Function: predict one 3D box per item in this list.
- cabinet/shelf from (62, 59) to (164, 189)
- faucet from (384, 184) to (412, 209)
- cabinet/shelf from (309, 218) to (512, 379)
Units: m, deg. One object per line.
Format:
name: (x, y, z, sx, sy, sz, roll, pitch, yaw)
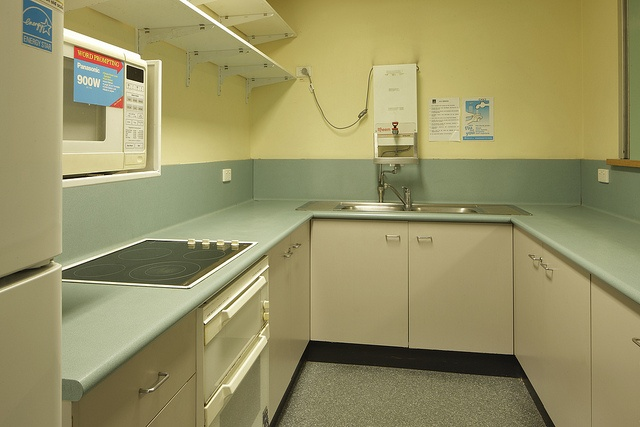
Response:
cabinet/shelf: (-0.907, -0.390, 1.724, 0.406, 0.492, 0.542, -2, 7, -33)
faucet: (0.608, -0.126, 3.318, 0.215, 0.179, 0.230, 1, 9, 8)
cabinet/shelf: (0.684, 0.505, 3.198, 1.384, 0.812, 0.812, -1, -6, 21)
